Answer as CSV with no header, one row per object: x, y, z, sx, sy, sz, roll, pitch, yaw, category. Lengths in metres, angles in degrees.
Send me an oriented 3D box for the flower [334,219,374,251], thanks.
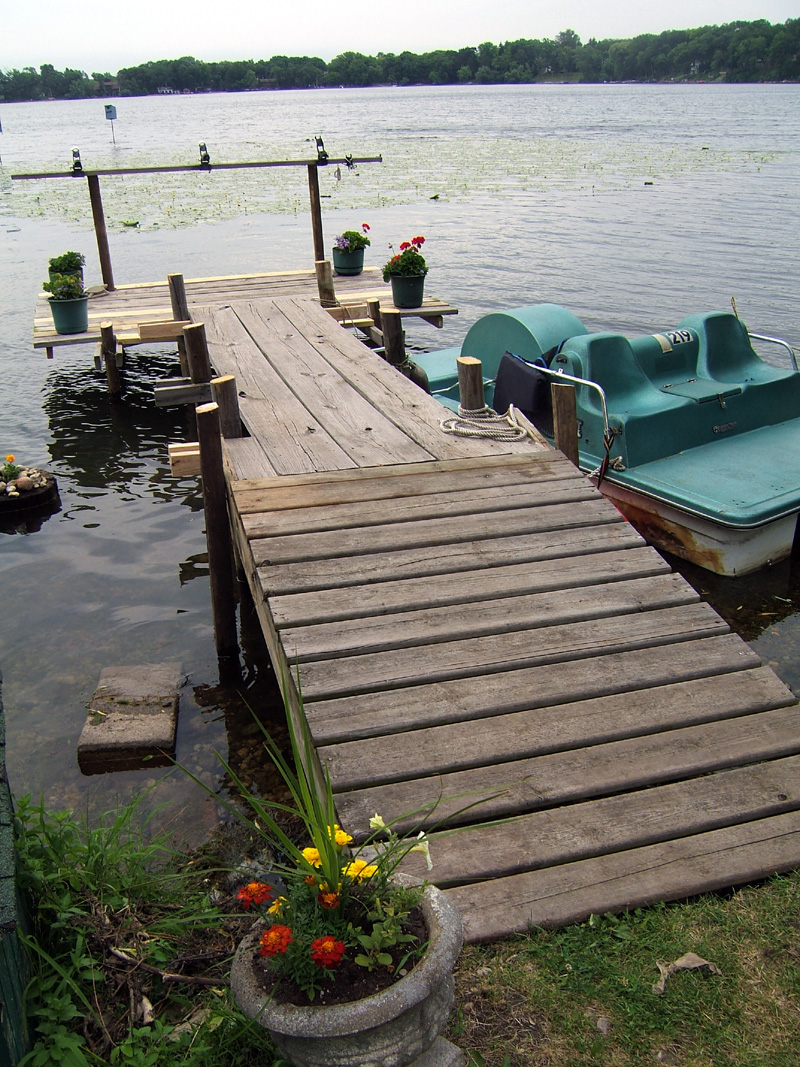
-0.774,-4.616,12.473,0.533,0.364,0.657,-7,20,-7,flower

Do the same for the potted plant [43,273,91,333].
-4.145,-2.860,10.020,0.434,0.728,0.494,-13,22,-19,potted plant

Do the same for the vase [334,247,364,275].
-0.822,-4.230,12.490,0.453,0.299,0.418,-1,32,1,vase

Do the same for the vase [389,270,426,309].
0.102,-3.314,10.912,0.473,0.323,0.456,-7,24,-12,vase

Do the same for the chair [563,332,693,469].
1.757,-1.013,6.282,1.252,0.460,0.530,-25,37,-37,chair

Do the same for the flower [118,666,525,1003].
-0.145,0.752,1.837,0.374,0.462,0.470,-25,-26,28,flower
